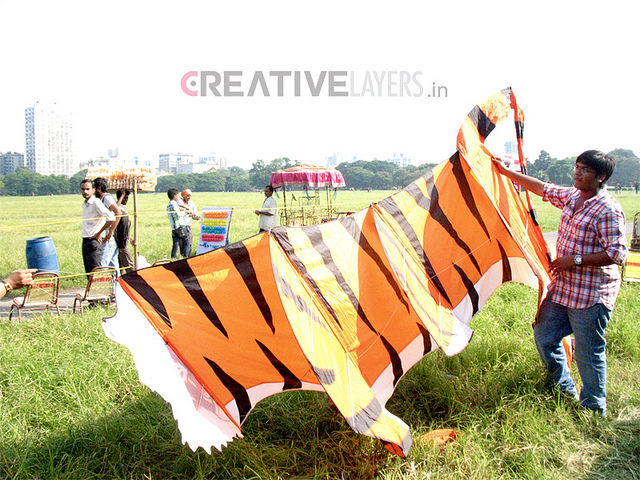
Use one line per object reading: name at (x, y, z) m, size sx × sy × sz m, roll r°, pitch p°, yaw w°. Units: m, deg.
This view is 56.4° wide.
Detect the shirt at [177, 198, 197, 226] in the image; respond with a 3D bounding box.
shirt at (-2.915, -0.670, 13.338) m, size 0.184 × 0.572 × 0.549 m, roll -8°, pitch 14°, yaw 27°

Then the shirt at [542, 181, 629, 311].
shirt at (2.610, -0.027, 6.090) m, size 0.499 × 1.195 × 1.321 m, roll -10°, pitch 14°, yaw -26°

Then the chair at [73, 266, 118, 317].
chair at (-3.387, 0.777, 8.915) m, size 0.560 × 1.003 × 0.655 m, roll -1°, pitch 17°, yaw -36°

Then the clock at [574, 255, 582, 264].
clock at (2.461, 0.194, 5.702) m, size 0.015 × 0.082 × 0.066 m, roll 6°, pitch -3°, yaw -45°

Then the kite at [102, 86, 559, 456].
kite at (0.534, 0.928, 6.209) m, size 4.423 × 1.702 × 3.017 m, roll -37°, pitch 41°, yaw -16°

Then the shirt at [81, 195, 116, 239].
shirt at (-3.572, -0.333, 9.343) m, size 0.642 × 0.734 × 0.363 m, roll -4°, pitch -4°, yaw 24°

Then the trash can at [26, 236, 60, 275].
trash can at (-4.850, 0.281, 10.430) m, size 0.471 × 0.608 × 0.580 m, roll -7°, pitch 10°, yaw -30°
